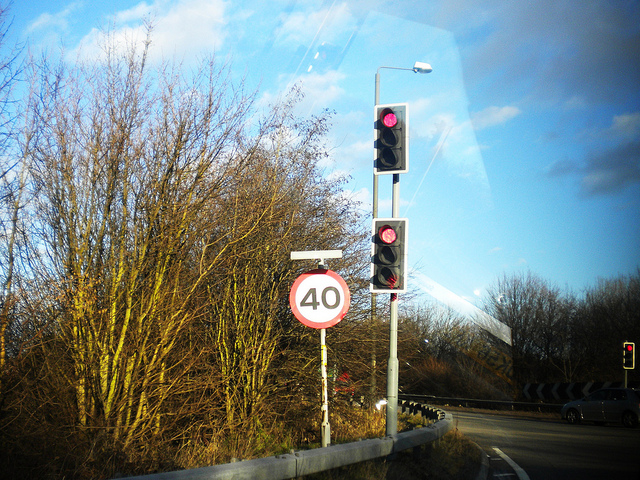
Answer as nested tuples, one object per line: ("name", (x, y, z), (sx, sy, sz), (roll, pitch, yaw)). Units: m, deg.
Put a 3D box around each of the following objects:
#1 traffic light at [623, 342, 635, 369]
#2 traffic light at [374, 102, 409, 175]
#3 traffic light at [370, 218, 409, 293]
("traffic light", (9.254, 3.436, 21.009), (0.299, 0.854, 0.824), (5, 0, 22))
("traffic light", (1.325, -1.894, 13.132), (0.559, 1.391, 0.363), (-2, -13, 13))
("traffic light", (1.283, 0.282, 13.044), (0.610, 1.499, 0.428), (3, 24, 11))
